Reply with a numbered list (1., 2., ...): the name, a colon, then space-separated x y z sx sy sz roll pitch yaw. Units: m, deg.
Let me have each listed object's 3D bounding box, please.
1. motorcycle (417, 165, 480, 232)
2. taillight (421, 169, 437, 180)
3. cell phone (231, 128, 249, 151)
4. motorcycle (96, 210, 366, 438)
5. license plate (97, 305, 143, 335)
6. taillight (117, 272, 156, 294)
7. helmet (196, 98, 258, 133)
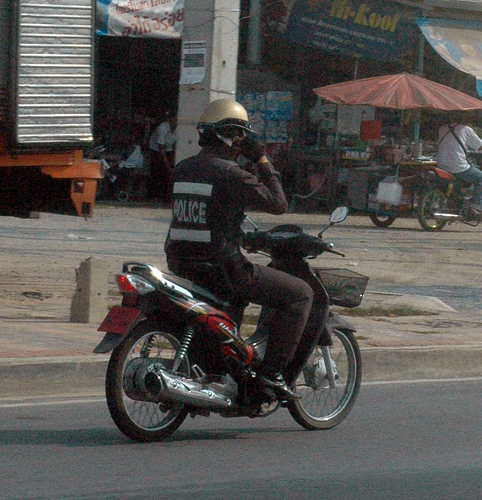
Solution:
1. motorcycle: 3.806 -0.935 17.855 1.182 1.256 0.695 -2 11 -41
2. taillight: 3.499 -1.381 17.450 0.290 0.186 0.223 3 8 -9
3. cell phone: -0.005 -0.624 5.364 0.049 0.111 0.092 24 24 24
4. motorcycle: 0.083 0.437 5.559 1.002 1.295 2.242 3 -1 40
5. license plate: -0.655 0.376 4.988 0.273 0.138 0.142 10 10 41
6. taillight: -0.541 0.183 4.931 0.164 0.049 0.107 12 19 -39
7. helmet: -0.089 -0.770 5.387 0.300 0.180 0.211 4 8 -5
